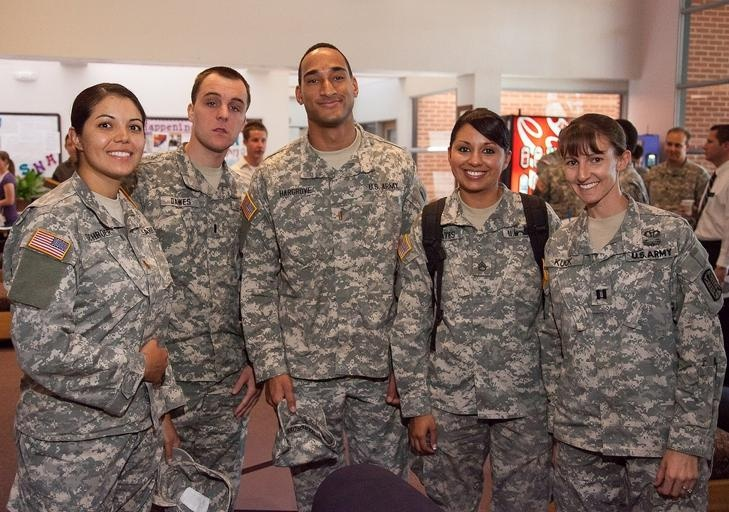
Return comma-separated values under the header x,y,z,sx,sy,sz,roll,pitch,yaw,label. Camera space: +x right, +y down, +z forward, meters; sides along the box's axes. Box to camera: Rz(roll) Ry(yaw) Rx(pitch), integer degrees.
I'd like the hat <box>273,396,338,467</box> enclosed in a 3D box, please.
x,y,z,sx,sy,sz,roll,pitch,yaw,label
-0.299,0.792,2.793,0.324,0.133,0.315,9,39,-23,hat
